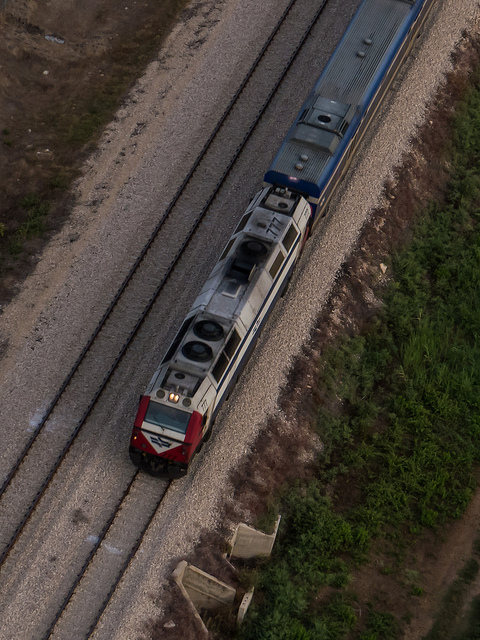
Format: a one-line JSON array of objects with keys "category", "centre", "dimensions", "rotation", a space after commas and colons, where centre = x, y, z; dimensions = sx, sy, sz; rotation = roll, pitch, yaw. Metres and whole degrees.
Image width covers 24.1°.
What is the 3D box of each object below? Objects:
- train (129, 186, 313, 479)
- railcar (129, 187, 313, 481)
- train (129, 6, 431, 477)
[{"category": "train", "centre": [-0.389, -0.109, 48.675], "dimensions": [3.374, 4.245, 15.449], "rotation": [17, 49, 14]}, {"category": "railcar", "centre": [-0.448, -0.358, 47.985], "dimensions": [2.864, 3.544, 14.423], "rotation": [19, 58, 14]}, {"category": "train", "centre": [2.076, -2.916, 51.984], "dimensions": [2.992, 4.197, 26.135], "rotation": [13, 57, 9]}]
